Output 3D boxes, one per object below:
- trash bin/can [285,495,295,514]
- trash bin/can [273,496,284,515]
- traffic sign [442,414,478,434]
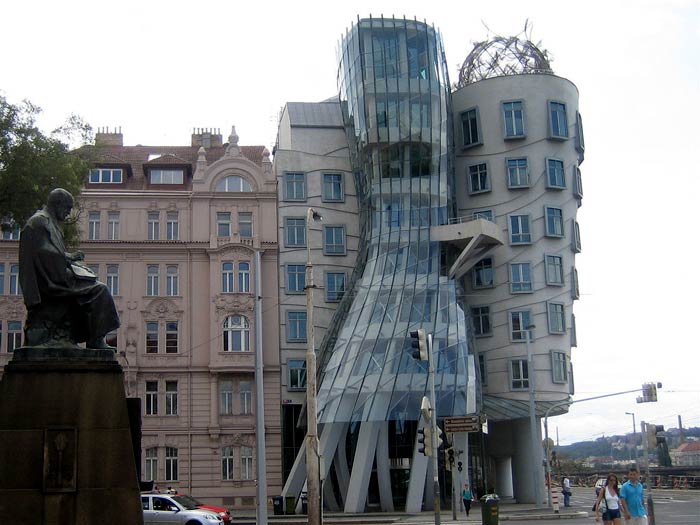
[{"bbox_3d":[-2.873,11.470,45.709,0.478,0.797,0.335,-1,-12,-5],"label":"trash bin/can"},{"bbox_3d":[-3.454,11.579,46.093,0.613,0.981,0.638,-1,-8,0],"label":"trash bin/can"},{"bbox_3d":[4.719,6.599,39.847,1.569,0.666,0.716,-12,-16,36],"label":"traffic sign"}]
